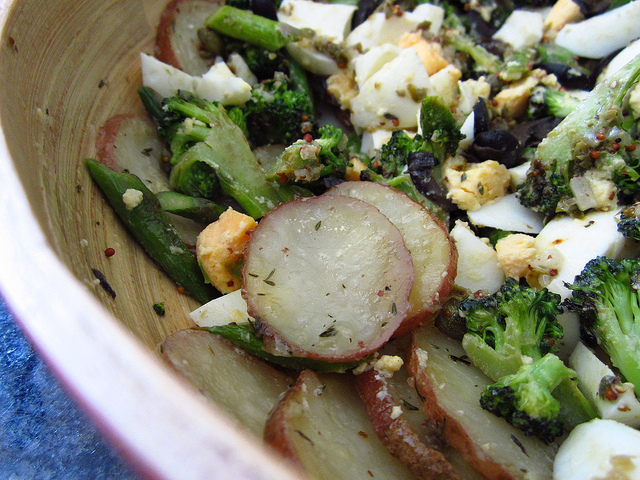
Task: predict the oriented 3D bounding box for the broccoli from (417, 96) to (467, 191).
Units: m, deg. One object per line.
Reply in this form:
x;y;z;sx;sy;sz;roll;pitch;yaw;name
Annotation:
0.460;-0.391;2.566;0.221;0.168;0.302;25;84;4;broccoli

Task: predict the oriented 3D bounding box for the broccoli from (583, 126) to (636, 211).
1.088;-0.262;2.423;0.163;0.108;0.304;19;83;3;broccoli

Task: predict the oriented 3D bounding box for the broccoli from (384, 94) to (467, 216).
0.421;-0.331;2.607;0.358;0.180;0.472;-7;81;27;broccoli

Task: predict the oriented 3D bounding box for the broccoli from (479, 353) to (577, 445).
0.706;0.523;2.127;0.301;0.112;0.321;-5;39;27;broccoli

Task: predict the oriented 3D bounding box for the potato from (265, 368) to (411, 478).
0.037;0.629;2.067;0.108;0.356;0.388;-35;62;36;potato

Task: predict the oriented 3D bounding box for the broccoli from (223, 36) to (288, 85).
-0.289;-0.807;2.834;0.249;0.199;0.111;29;93;-11;broccoli

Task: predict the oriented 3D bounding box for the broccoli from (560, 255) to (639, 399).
0.990;0.282;2.250;0.300;0.233;0.411;-11;88;2;broccoli

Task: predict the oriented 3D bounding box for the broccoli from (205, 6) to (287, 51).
-0.309;-0.908;2.819;0.402;0.126;0.154;18;45;-1;broccoli

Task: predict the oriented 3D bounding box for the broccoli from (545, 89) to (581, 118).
1.038;-0.585;2.748;0.087;0.152;0.052;-21;107;-11;broccoli

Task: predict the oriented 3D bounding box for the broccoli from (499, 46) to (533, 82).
0.878;-0.797;2.869;0.123;0.046;0.195;12;51;28;broccoli

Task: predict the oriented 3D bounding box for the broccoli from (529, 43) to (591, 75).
1.097;-0.849;2.964;0.172;0.056;0.232;14;31;-8;broccoli

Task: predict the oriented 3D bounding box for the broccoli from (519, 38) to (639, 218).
1.016;-0.353;2.440;0.383;0.175;0.661;29;102;32;broccoli
